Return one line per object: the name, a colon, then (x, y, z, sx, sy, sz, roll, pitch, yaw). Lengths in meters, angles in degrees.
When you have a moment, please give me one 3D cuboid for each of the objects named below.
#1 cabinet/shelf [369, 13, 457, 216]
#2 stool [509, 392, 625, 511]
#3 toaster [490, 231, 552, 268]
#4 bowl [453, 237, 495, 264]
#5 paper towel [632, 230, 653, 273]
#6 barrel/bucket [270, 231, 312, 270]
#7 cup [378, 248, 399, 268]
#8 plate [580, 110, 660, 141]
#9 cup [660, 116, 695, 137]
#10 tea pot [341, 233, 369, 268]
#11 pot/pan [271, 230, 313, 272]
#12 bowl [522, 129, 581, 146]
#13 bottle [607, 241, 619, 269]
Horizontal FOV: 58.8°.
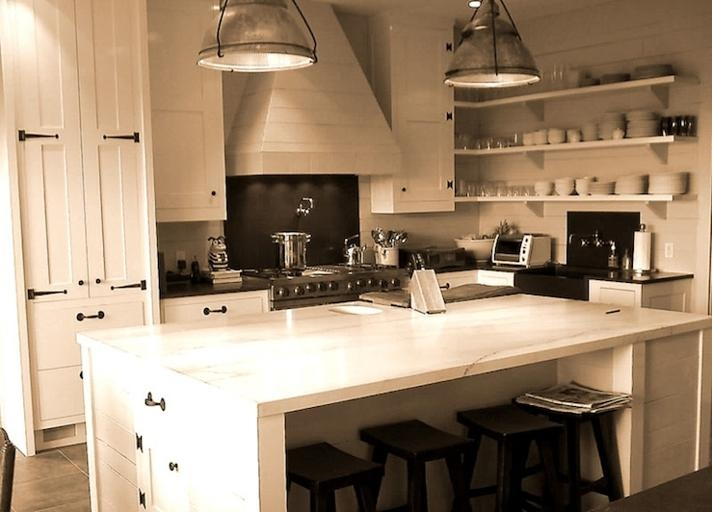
cabinet/shelf: (0.650, -1.411, 6.489, 0.818, 1.868, 0.214, -5, 9, -27)
stool: (1.187, 1.038, 3.750, 0.557, 0.786, 0.571, -1, 1, -36)
toaster: (1.735, -0.047, 6.626, 0.379, 0.350, 0.505, 2, 3, -35)
bowl: (1.306, -0.077, 6.891, 0.310, 0.175, 0.304, 0, 1, 0)
paper towel: (2.628, -0.050, 5.776, 0.161, 0.368, 0.324, 3, 8, 23)
barrel/bucket: (-0.603, -0.058, 5.995, 0.362, 0.346, 0.354, 0, 3, 0)
cup: (0.304, -0.001, 6.346, 0.224, 0.194, 0.283, 0, 8, 6)
plate: (2.460, -1.161, 5.835, 0.342, 0.168, 0.461, 1, -1, -39)
cup: (2.843, -1.154, 5.593, 0.272, 0.193, 0.210, -4, 8, -24)
tea pot: (0.008, -0.066, 6.380, 0.208, 0.364, 0.364, 5, 7, 37)
pot/pan: (-0.603, -0.037, 5.944, 0.422, 0.342, 0.391, -3, -2, 4)
bowl: (1.965, -1.192, 6.328, 0.230, 0.112, 0.372, -4, 4, -34)
bottle: (2.482, -0.019, 6.087, 0.107, 0.261, 0.197, 2, 8, 21)
